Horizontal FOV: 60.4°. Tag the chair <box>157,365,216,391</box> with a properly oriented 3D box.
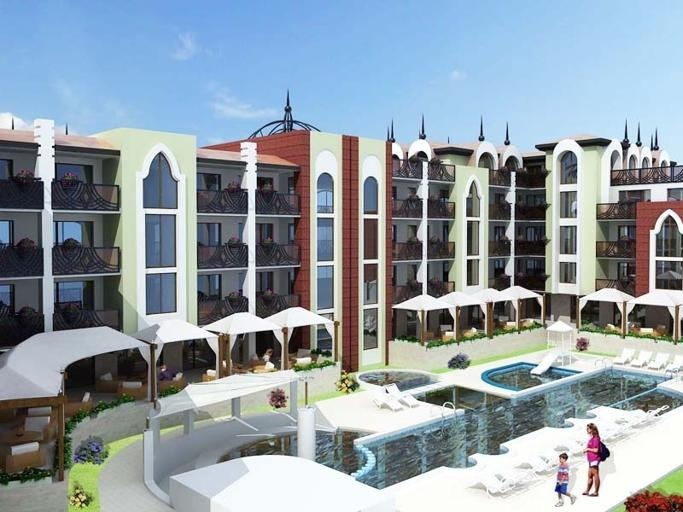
[{"bbox_3d":[-8.233,6.398,30.606,1.652,1.075,1.751,-1,0,11],"label":"chair"}]

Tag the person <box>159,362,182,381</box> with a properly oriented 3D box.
[{"bbox_3d":[-9.011,6.163,30.769,1.126,0.410,0.967,1,1,-23],"label":"person"}]

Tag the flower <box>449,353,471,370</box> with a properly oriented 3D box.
[{"bbox_3d":[8.026,7.222,39.974,0.992,0.726,1.051,-2,0,25],"label":"flower"}]

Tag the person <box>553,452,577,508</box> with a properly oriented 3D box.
[{"bbox_3d":[8.206,7.887,21.426,0.669,1.283,2.350,-2,-1,22],"label":"person"}]
